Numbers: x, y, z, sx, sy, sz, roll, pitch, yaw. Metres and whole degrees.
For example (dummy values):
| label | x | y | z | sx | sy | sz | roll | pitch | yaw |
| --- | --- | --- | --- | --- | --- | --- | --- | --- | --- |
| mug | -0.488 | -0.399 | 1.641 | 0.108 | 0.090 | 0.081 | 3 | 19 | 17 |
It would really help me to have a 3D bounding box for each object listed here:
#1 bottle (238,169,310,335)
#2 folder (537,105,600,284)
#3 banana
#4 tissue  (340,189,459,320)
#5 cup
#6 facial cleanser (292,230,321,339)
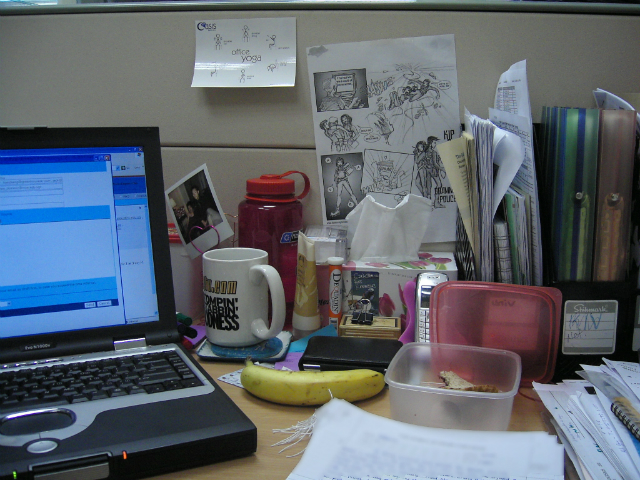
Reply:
| label | x | y | z | sx | sy | sz | roll | pitch | yaw |
| --- | --- | --- | --- | --- | --- | --- | --- | --- | --- |
| bottle | -0.104 | 0.028 | 1.011 | 0.119 | 0.319 | 0.123 | 7 | 21 | -3 |
| folder | 0.397 | -0.076 | 0.763 | 0.081 | 0.271 | 0.104 | 2 | 13 | 27 |
| banana | -0.008 | 0.202 | 0.711 | 0.208 | 0.083 | 0.064 | 3 | 24 | -2 |
| tissue  | 0.153 | 0.032 | 0.906 | 0.209 | 0.256 | 0.126 | 1 | 12 | 8 |
| cup | -0.124 | 0.098 | 0.882 | 0.115 | 0.165 | 0.181 | -6 | 9 | -40 |
| facial cleanser | -0.025 | 0.096 | 0.911 | 0.052 | 0.175 | 0.072 | 1 | 21 | -2 |
